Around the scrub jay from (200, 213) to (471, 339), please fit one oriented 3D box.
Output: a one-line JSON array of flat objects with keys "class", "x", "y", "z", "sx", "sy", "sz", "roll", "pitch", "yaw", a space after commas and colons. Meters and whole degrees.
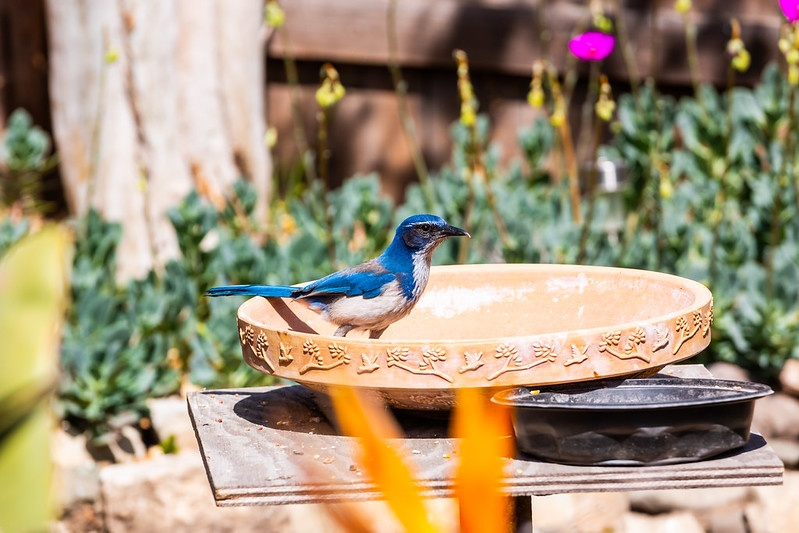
[{"class": "scrub jay", "x": -0.277, "y": 0.152, "z": 5.336, "sx": 1.100, "sy": 0.762, "sz": 0.336, "roll": 1, "pitch": -17, "yaw": 2}]
